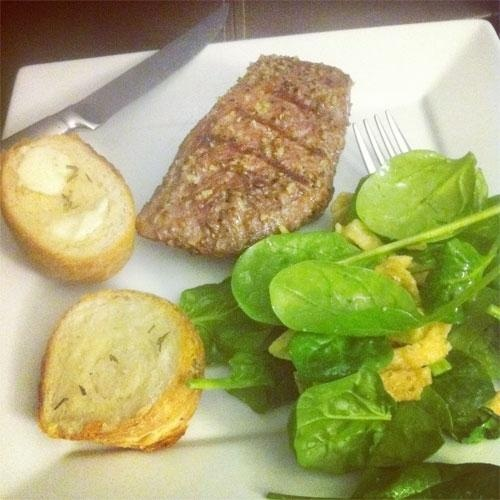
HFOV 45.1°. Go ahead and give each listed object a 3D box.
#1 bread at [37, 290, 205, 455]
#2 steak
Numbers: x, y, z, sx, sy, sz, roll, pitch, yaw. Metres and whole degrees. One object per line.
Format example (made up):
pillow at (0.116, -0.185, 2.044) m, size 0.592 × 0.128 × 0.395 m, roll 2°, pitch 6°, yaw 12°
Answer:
bread at (-0.162, 0.183, 0.871) m, size 0.263 × 0.066 × 0.226 m, roll 20°, pitch 79°, yaw 1°
steak at (0.016, -0.150, 1.024) m, size 0.269 × 0.088 × 0.357 m, roll 29°, pitch 81°, yaw 5°
